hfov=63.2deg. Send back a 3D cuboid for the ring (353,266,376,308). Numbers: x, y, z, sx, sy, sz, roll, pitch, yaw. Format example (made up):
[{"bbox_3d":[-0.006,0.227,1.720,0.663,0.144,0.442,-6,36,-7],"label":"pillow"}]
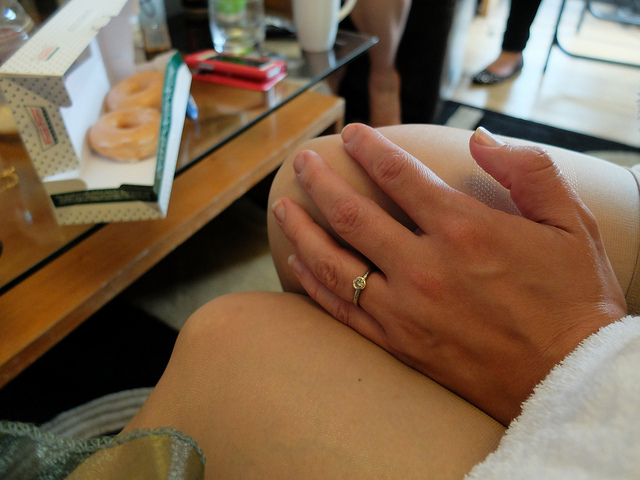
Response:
[{"bbox_3d":[0.045,0.051,0.576,0.009,0.025,0.035,25,77,-9],"label":"ring"}]

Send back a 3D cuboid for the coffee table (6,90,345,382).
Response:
[{"bbox_3d":[-0.295,0.028,0.924,0.436,0.357,0.569,28,46,32],"label":"coffee table"}]

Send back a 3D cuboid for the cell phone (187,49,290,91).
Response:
[{"bbox_3d":[-0.151,-0.305,0.919,0.115,0.030,0.093,11,38,12],"label":"cell phone"}]

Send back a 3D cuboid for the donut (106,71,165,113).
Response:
[{"bbox_3d":[-0.264,-0.213,0.755,0.069,0.027,0.071,-25,41,-21],"label":"donut"}]
